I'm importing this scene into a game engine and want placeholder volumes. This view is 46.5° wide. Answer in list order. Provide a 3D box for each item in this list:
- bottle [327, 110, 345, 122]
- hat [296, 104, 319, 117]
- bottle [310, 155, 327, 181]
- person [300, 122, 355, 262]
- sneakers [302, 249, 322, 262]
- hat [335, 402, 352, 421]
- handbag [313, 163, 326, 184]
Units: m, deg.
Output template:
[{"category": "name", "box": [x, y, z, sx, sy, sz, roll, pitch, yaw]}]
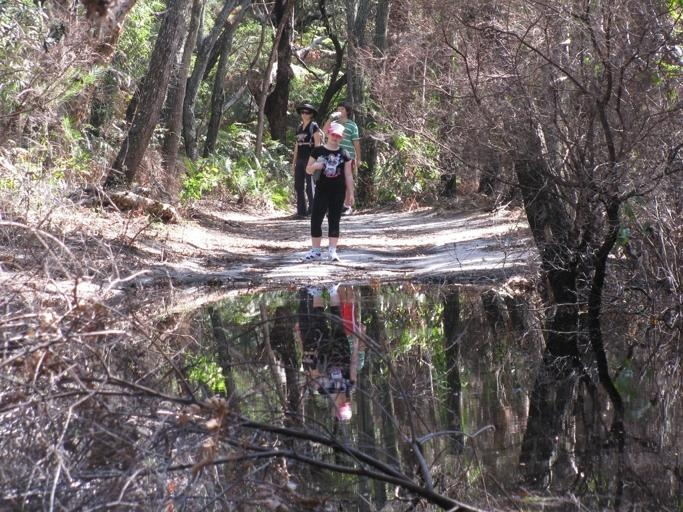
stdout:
[{"category": "bottle", "box": [-0.087, -2.437, 13.840, 0.270, 0.185, 0.432, -1, 3, 5]}, {"category": "hat", "box": [-0.659, -2.731, 14.899, 0.286, 0.195, 0.479, 4, 10, 9]}, {"category": "bottle", "box": [-0.308, -1.172, 10.901, 0.154, 0.337, 0.402, 1, 9, -6]}, {"category": "person", "box": [-0.181, -0.851, 11.184, 0.652, 2.011, 0.900, 1, 7, -4]}, {"category": "sneakers", "box": [-0.408, -0.024, 11.634, 0.303, 0.282, 0.132, 2, 17, 4]}, {"category": "hat", "box": [0.029, 1.183, 5.935, 0.115, 0.159, 0.134, -3, -10, 19]}, {"category": "handbag", "box": [-0.296, -1.183, 10.853, 0.139, 0.221, 0.234, 0, -38, -5]}]
